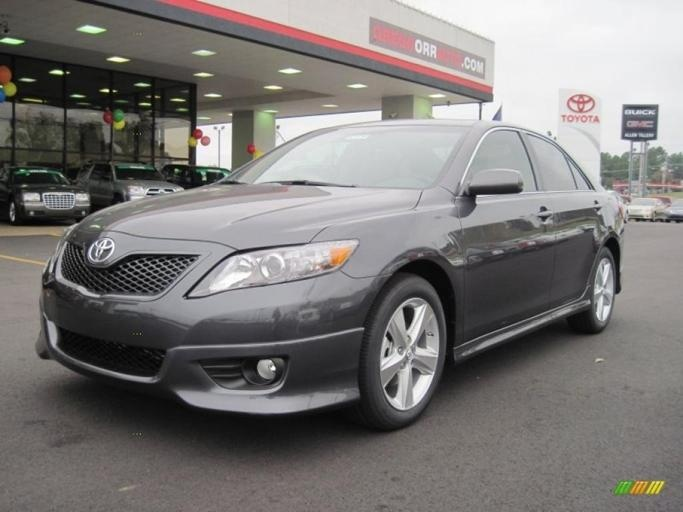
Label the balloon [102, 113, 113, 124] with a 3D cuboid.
[{"bbox_3d":[-11.449,-6.812,21.552,0.460,0.572,0.479,13,27,4],"label":"balloon"}]

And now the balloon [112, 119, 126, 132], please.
[{"bbox_3d":[-11.051,-6.529,21.845,0.414,0.498,0.421,29,18,0],"label":"balloon"}]
